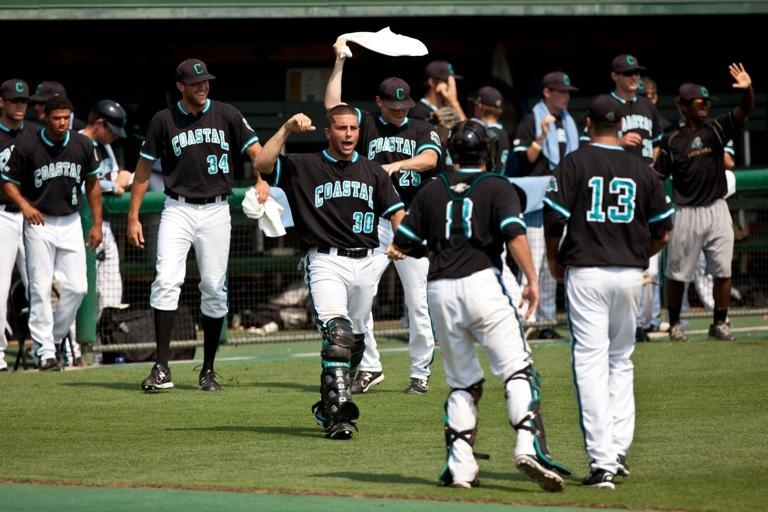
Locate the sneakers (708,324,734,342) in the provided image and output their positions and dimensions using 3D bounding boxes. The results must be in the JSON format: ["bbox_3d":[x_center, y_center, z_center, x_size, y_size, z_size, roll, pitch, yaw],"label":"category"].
[{"bbox_3d":[3.636,0.836,14.824,0.297,0.165,0.147,1,4,20],"label":"sneakers"}]

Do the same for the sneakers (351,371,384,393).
[{"bbox_3d":[-0.159,1.208,13.139,0.130,0.167,0.367,-3,11,46],"label":"sneakers"}]

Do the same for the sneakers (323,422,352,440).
[{"bbox_3d":[-0.368,1.488,11.630,0.251,0.146,0.169,-1,0,-3],"label":"sneakers"}]

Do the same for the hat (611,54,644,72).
[{"bbox_3d":[2.494,-1.959,13.991,0.287,0.185,0.289,-1,1,9],"label":"hat"}]

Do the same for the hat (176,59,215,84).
[{"bbox_3d":[-1.785,-1.738,12.954,0.327,0.253,0.271,-2,0,-28],"label":"hat"}]

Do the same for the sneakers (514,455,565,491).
[{"bbox_3d":[1.205,1.700,10.623,0.320,0.150,0.114,35,-38,-13],"label":"sneakers"}]

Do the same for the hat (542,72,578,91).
[{"bbox_3d":[1.893,-1.891,14.819,0.375,0.174,0.239,4,10,22],"label":"hat"}]

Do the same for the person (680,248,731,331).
[{"bbox_3d":[3.674,0.414,15.692,0.602,0.833,0.266,-7,21,27],"label":"person"}]

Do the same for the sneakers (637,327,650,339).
[{"bbox_3d":[2.823,0.846,14.902,0.124,0.131,0.082,15,41,25],"label":"sneakers"}]

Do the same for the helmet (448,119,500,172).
[{"bbox_3d":[0.706,-0.906,11.037,0.344,0.353,0.435,7,14,19],"label":"helmet"}]

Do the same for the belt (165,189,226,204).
[{"bbox_3d":[-1.775,-0.551,13.024,0.580,0.139,0.138,-1,0,-7],"label":"belt"}]

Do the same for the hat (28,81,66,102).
[{"bbox_3d":[-3.388,-1.663,13.838,0.331,0.161,0.232,5,-3,-31],"label":"hat"}]

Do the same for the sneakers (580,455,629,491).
[{"bbox_3d":[1.796,1.709,10.808,0.442,0.241,0.203,-2,0,-32],"label":"sneakers"}]

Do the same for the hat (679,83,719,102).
[{"bbox_3d":[3.173,-1.687,14.241,0.235,0.149,0.307,-10,4,-39],"label":"hat"}]

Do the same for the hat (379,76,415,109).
[{"bbox_3d":[0.140,-1.494,12.826,0.255,0.154,0.335,-14,42,-19],"label":"hat"}]

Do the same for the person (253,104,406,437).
[{"bbox_3d":[-0.399,0.136,11.829,1.117,2.869,0.633,-2,0,-34],"label":"person"}]

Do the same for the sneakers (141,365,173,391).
[{"bbox_3d":[-2.186,1.187,12.993,0.169,0.232,0.371,-5,-8,32],"label":"sneakers"}]
